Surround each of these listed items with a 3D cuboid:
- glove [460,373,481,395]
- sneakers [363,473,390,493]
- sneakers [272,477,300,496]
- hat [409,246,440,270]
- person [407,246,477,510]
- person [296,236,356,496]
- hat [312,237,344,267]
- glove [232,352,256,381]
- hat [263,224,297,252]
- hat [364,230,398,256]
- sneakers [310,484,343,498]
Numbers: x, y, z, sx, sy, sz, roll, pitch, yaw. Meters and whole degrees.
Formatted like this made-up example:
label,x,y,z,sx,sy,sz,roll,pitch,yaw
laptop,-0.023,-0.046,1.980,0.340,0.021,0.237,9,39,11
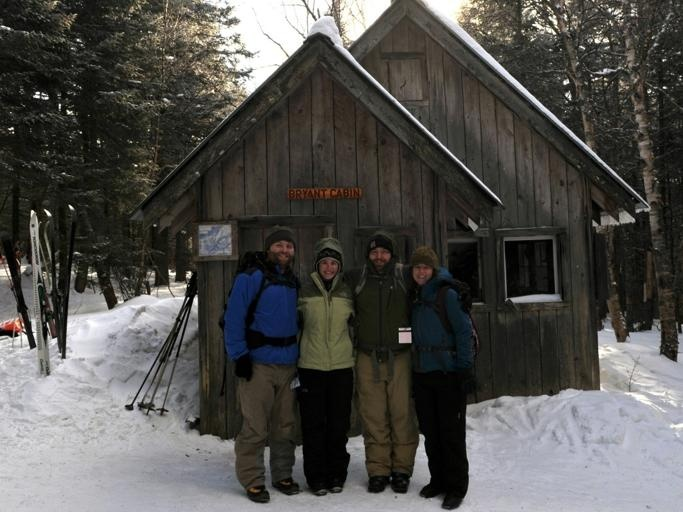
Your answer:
label,x,y,z,sx,sy,sz,roll,pitch,yaw
glove,2.012,1.976,11.762,0.284,0.321,0.132,-1,-1,-31
sneakers,0.611,3.632,11.981,0.388,0.247,0.142,-1,-1,-17
sneakers,-0.860,3.651,11.921,0.476,0.217,0.185,-7,-7,39
hat,1.345,0.051,12.141,0.344,0.316,0.341,12,-1,-27
person,1.598,1.891,11.915,0.977,4.064,0.507,-2,-1,8
person,-0.243,1.743,12.060,0.926,4.051,0.366,-1,-1,-3
hat,-0.203,-0.051,12.122,0.340,0.476,0.478,4,2,-2
glove,-1.531,1.735,11.894,0.384,0.582,0.181,0,10,-7
hat,-1.001,-0.297,12.281,0.384,0.348,0.411,2,-9,-7
hat,0.673,-0.217,12.415,0.319,0.425,0.454,0,-15,6
sneakers,-0.231,3.688,11.871,0.473,0.229,0.202,3,-8,-5
